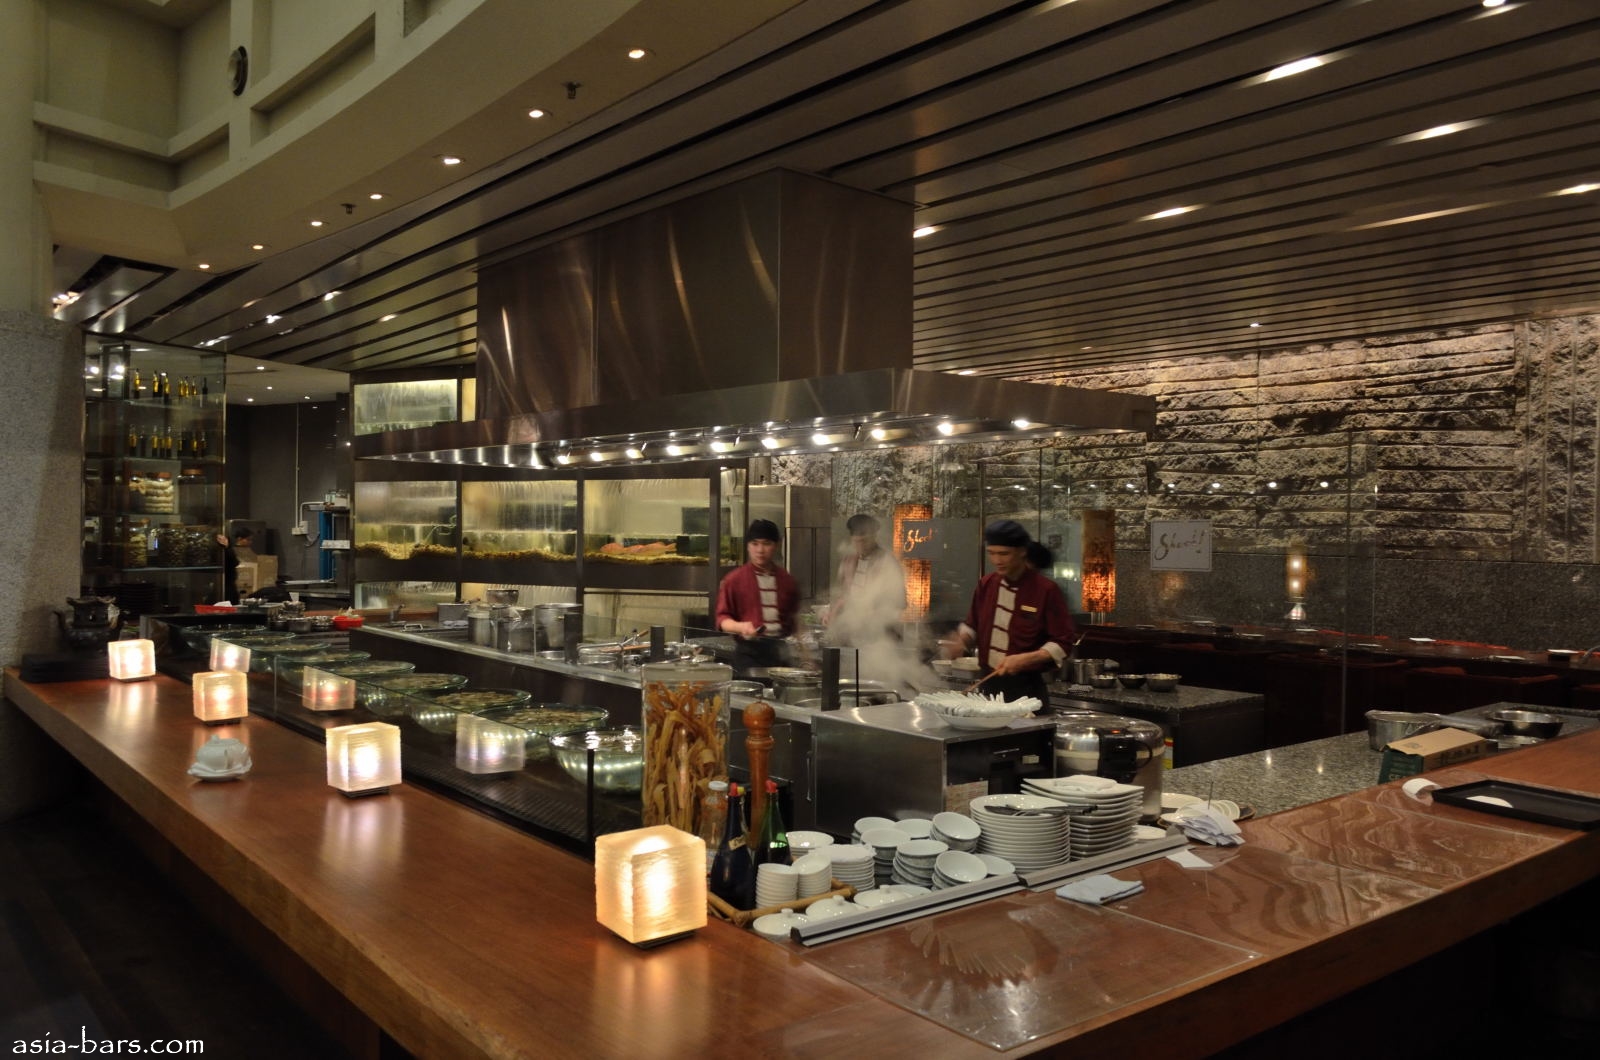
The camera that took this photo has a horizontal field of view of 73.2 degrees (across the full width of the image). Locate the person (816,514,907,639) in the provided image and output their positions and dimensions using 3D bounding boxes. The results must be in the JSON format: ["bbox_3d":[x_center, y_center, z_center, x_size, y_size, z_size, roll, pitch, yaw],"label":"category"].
[{"bbox_3d":[0.418,0.318,7.012,0.519,0.798,0.961,1,10,2],"label":"person"}]

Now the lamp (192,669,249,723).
[{"bbox_3d":[-2.835,0.819,5.320,0.272,0.231,0.255,0,-5,-23],"label":"lamp"}]

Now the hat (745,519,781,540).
[{"bbox_3d":[-0.228,0.002,6.811,0.172,0.099,0.202,0,-24,2],"label":"hat"}]

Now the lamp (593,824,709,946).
[{"bbox_3d":[-0.465,1.076,3.369,0.333,0.295,0.327,2,-3,-40],"label":"lamp"}]

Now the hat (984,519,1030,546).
[{"bbox_3d":[1.171,0.031,6.007,0.204,0.143,0.174,5,-6,-29],"label":"hat"}]

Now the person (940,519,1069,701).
[{"bbox_3d":[1.208,0.460,6.151,0.687,1.041,1.800,2,10,8],"label":"person"}]

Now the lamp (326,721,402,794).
[{"bbox_3d":[-1.672,0.860,4.246,0.292,0.254,0.284,-8,9,-33],"label":"lamp"}]

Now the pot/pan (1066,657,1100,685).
[{"bbox_3d":[1.911,0.957,7.273,0.187,0.153,0.176,-1,-2,18],"label":"pot/pan"}]

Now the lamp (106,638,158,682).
[{"bbox_3d":[-3.933,0.765,6.399,0.264,0.228,0.253,-3,4,-34],"label":"lamp"}]

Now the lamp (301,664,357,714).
[{"bbox_3d":[-2.149,0.725,4.921,0.252,0.212,0.245,3,-5,-37],"label":"lamp"}]

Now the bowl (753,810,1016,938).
[{"bbox_3d":[0.248,1.106,3.536,0.910,0.186,0.463,-4,11,-24],"label":"bowl"}]
